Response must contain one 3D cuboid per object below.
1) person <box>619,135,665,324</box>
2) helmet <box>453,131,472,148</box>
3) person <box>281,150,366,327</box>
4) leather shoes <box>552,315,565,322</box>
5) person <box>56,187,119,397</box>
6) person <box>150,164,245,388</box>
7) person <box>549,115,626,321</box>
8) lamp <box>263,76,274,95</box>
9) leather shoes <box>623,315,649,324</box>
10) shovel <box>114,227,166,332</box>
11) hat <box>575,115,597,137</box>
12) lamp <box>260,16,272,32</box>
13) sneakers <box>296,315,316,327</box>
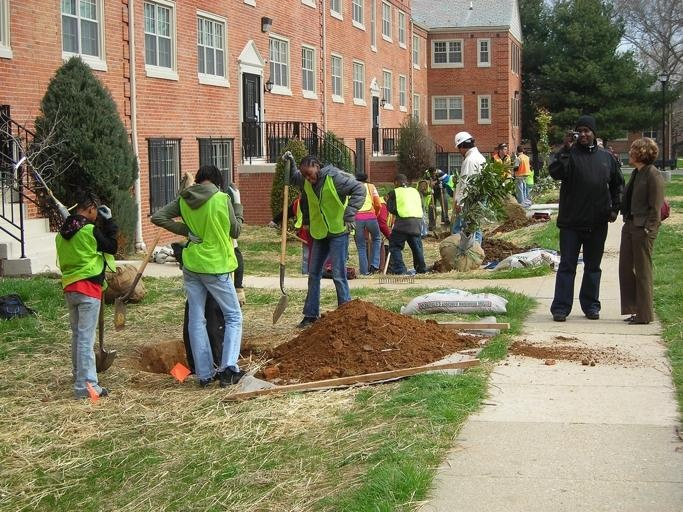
[{"bbox_3d":[3.591,-0.314,8.537,0.509,2.204,0.646,-1,3,23],"label":"person"},{"bbox_3d":[2.365,-2.250,13.918,0.298,0.290,0.383,0,3,34],"label":"helmet"},{"bbox_3d":[-0.116,-0.180,9.042,0.847,2.149,0.484,-1,2,2],"label":"person"},{"bbox_3d":[2.663,0.751,8.642,0.170,0.083,0.105,-2,2,-9],"label":"leather shoes"},{"bbox_3d":[-2.402,0.376,6.829,0.516,1.890,0.437,-3,3,-26],"label":"person"},{"bbox_3d":[-1.317,0.188,7.007,0.775,2.129,0.474,-1,2,12],"label":"person"},{"bbox_3d":[2.987,-0.448,8.720,0.885,2.454,0.429,-1,2,6],"label":"person"},{"bbox_3d":[-2.467,-5.738,24.359,0.419,0.611,0.401,-2,11,-10],"label":"lamp"},{"bbox_3d":[3.481,0.758,8.434,0.085,0.104,0.254,1,-9,-44],"label":"leather shoes"},{"bbox_3d":[-3.148,0.392,11.188,0.447,1.865,0.227,40,24,15],"label":"shovel"},{"bbox_3d":[2.946,-1.593,8.662,0.239,0.244,0.263,10,-30,21],"label":"hat"},{"bbox_3d":[-2.480,-7.672,24.027,0.298,0.471,0.437,-1,2,8],"label":"lamp"},{"bbox_3d":[-0.420,0.838,9.070,0.303,0.121,0.103,-2,-1,-26],"label":"sneakers"}]
